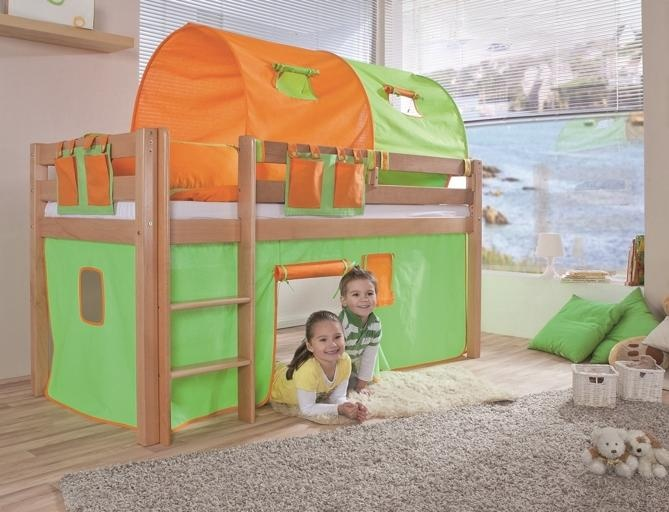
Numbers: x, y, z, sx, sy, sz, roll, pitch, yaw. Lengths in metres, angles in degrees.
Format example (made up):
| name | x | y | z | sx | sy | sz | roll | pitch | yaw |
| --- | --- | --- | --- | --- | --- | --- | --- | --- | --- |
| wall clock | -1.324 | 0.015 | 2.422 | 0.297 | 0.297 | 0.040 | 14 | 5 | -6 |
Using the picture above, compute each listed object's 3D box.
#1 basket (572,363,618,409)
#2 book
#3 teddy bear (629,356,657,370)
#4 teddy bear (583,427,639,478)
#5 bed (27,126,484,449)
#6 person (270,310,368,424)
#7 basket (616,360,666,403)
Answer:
| name | x | y | z | sx | sy | sz | roll | pitch | yaw |
| --- | --- | --- | --- | --- | --- | --- | --- | --- | --- |
| basket | 1.418 | 0.707 | 3.097 | 0.237 | 0.175 | 0.233 | -2 | 5 | -23 |
| book | 2.038 | -0.061 | 4.189 | 0.563 | 0.381 | 0.399 | 4 | 6 | 39 |
| teddy bear | 1.794 | 0.621 | 3.266 | 0.115 | 0.041 | 0.081 | -1 | 4 | -26 |
| teddy bear | 1.128 | 0.812 | 2.311 | 0.211 | 0.194 | 0.172 | 1 | -8 | 20 |
| bed | -0.333 | 0.055 | 3.928 | 1.468 | 1.513 | 2.861 | 6 | 8 | 42 |
| person | -0.135 | 0.605 | 3.187 | 0.357 | 0.590 | 0.973 | -4 | -3 | -26 |
| basket | 1.714 | 0.692 | 3.227 | 0.239 | 0.228 | 0.236 | 1 | 2 | 1 |
